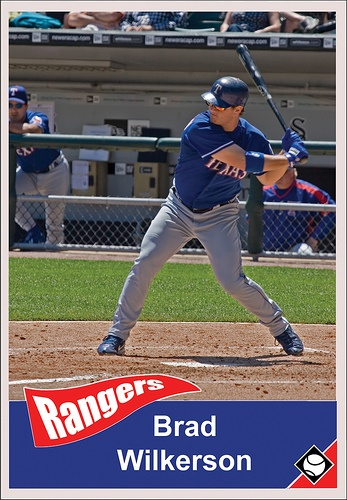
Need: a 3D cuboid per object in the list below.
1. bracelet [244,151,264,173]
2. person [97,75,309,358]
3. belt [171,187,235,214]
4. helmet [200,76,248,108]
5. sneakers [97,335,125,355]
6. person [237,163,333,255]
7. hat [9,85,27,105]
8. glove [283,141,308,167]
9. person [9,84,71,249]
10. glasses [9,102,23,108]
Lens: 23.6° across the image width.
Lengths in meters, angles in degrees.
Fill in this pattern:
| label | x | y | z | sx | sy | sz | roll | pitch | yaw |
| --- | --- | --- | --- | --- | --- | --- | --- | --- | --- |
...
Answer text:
| label | x | y | z | sx | sy | sz | roll | pitch | yaw |
| --- | --- | --- | --- | --- | --- | --- | --- | --- | --- |
| bracelet | 0.376 | -0.391 | 3.758 | 0.093 | 0.085 | 0.094 | 7 | -16 | 18 |
| person | 0.165 | -0.130 | 3.981 | 1.014 | 1.356 | 0.437 | 3 | 7 | 3 |
| belt | 0.161 | -0.219 | 3.961 | 0.183 | 0.043 | 0.182 | -20 | 41 | -17 |
| helmet | 0.240 | -0.719 | 3.784 | 0.205 | 0.154 | 0.174 | 1 | 7 | -12 |
| sneakers | -0.311 | 0.465 | 4.088 | 0.067 | 0.075 | 0.173 | 7 | -15 | 7 |
| person | 1.008 | -0.405 | 7.365 | 0.836 | 0.258 | 0.968 | 0 | 31 | -9 |
| hat | -1.353 | -1.331 | 7.086 | 0.139 | 0.151 | 0.370 | 4 | 6 | 11 |
| glove | 0.593 | -0.453 | 3.935 | 0.051 | 0.119 | 0.127 | 18 | -22 | -14 |
| person | -1.213 | -0.740 | 7.436 | 0.527 | 1.385 | 0.918 | 2 | 7 | -8 |
| glasses | -1.346 | -1.231 | 7.079 | 0.122 | 0.052 | 0.061 | 1 | 7 | -13 |
